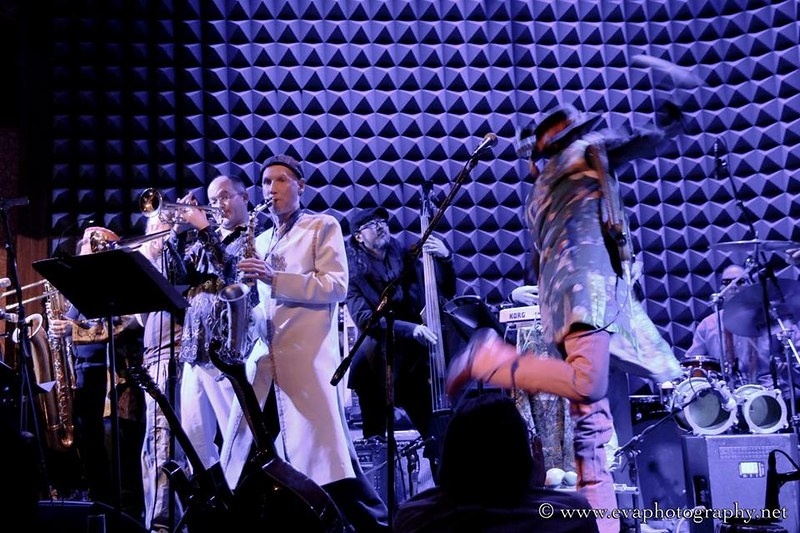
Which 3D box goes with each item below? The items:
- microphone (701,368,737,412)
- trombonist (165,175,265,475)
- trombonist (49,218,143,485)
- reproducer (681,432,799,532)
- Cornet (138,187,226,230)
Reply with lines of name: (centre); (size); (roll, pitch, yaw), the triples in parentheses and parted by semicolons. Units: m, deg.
microphone: (3.022, 1.178, 9.479); (0.252, 0.361, 0.284); (-5, -12, 17)
trombonist: (-1.652, 0.646, 8.725); (0.541, 2.728, 0.832); (-3, -5, 24)
trombonist: (-2.935, 1.154, 10.130); (0.825, 3.261, 0.882); (1, 3, -3)
reproducer: (3.113, 1.940, 9.118); (1.012, 0.899, 0.466); (-5, -11, 13)
Cornet: (-1.911, -0.497, 8.770); (0.627, 0.326, 0.506); (-2, 1, -32)
